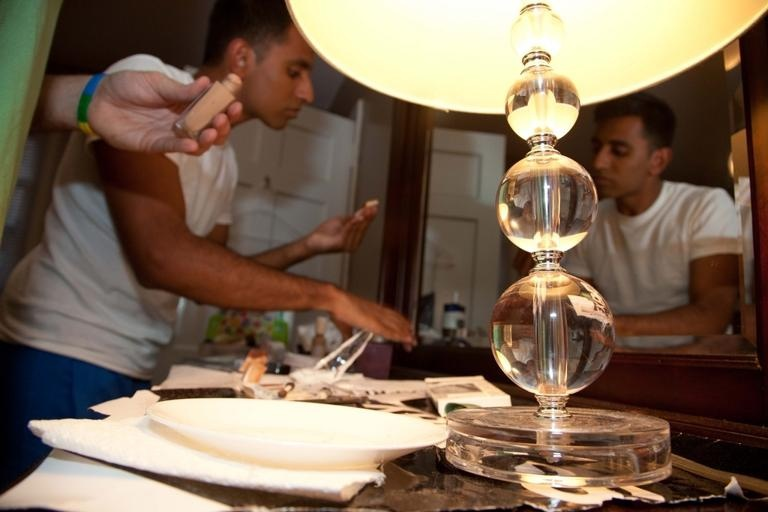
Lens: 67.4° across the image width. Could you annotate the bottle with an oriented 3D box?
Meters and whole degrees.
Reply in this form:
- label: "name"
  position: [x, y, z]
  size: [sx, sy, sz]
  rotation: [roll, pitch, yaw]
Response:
- label: "bottle"
  position: [-0.316, -0.270, 1.048]
  size: [0.139, 0.107, 0.048]
  rotation: [-2, -4, 21]
